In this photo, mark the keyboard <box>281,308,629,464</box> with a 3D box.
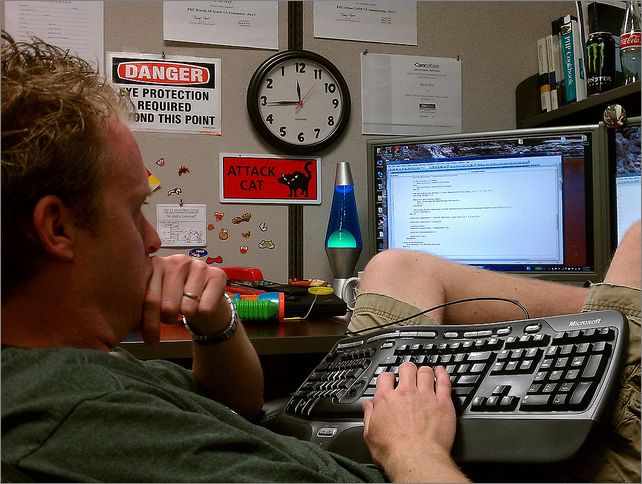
[{"bbox_3d":[0.192,0.220,0.933,0.516,0.105,0.294,-13,10,38],"label":"keyboard"}]

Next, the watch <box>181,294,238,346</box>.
[{"bbox_3d":[-0.189,0.143,1.078,0.088,0.090,0.024,-1,-15,21],"label":"watch"}]

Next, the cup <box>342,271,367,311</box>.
[{"bbox_3d":[0.078,0.121,1.581,0.095,0.097,0.052,-2,7,-41],"label":"cup"}]

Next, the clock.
[{"bbox_3d":[-0.077,-0.396,1.741,0.313,0.323,0.034,0,-3,-12],"label":"clock"}]
